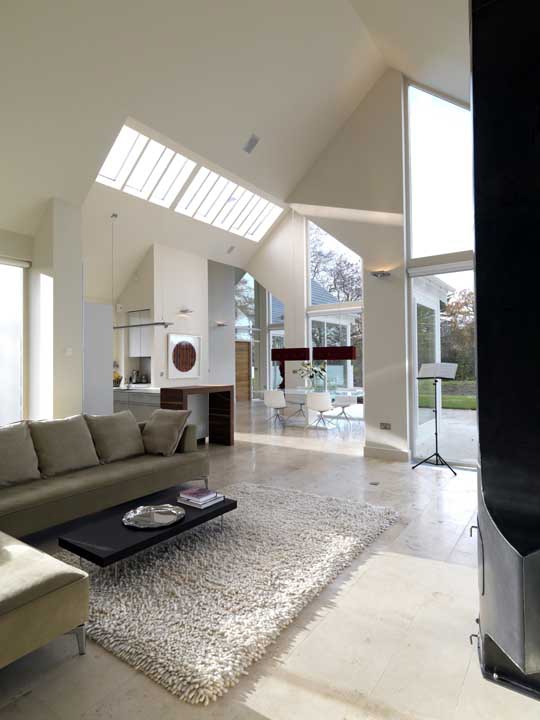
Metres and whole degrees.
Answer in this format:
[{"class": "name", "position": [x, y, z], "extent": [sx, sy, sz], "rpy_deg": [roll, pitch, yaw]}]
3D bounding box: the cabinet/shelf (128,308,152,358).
[{"class": "cabinet/shelf", "position": [-2.203, -0.442, 9.096], "extent": [0.266, 0.832, 0.775], "rpy_deg": [0, 2, -25]}]

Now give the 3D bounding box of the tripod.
[{"class": "tripod", "position": [1.783, 0.694, 5.843], "extent": [0.430, 0.942, 0.735], "rpy_deg": [2, 2, 16]}]

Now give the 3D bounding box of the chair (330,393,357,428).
[{"class": "chair", "position": [1.237, 0.834, 8.981], "extent": [0.462, 0.611, 0.488], "rpy_deg": [8, -9, -33]}]

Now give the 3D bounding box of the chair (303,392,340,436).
[{"class": "chair", "position": [0.814, 0.815, 8.633], "extent": [0.616, 0.795, 0.565], "rpy_deg": [1, 9, 25]}]

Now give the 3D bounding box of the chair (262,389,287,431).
[{"class": "chair", "position": [0.011, 0.817, 9.704], "extent": [0.449, 0.861, 0.543], "rpy_deg": [0, 6, 25]}]
